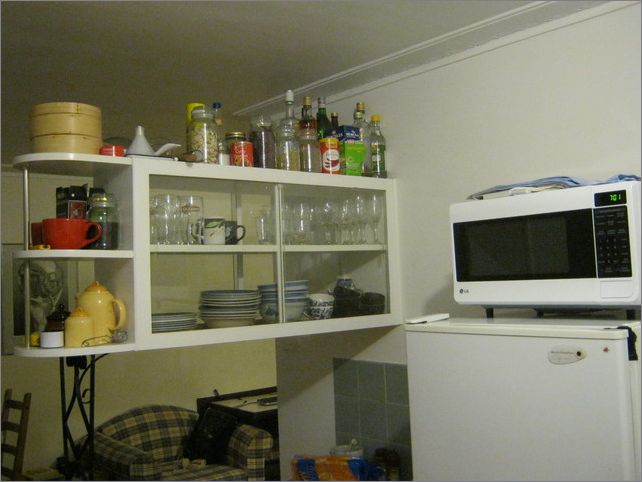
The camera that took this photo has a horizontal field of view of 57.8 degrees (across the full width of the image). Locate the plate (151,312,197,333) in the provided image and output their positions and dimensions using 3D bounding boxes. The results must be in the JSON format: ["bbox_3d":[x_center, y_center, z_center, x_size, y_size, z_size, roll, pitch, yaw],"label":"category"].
[{"bbox_3d":[-0.603,0.334,2.395,0.194,0.081,0.008,-1,-2,-38],"label":"plate"}]

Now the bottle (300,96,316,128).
[{"bbox_3d":[-0.067,-0.635,2.903,0.075,0.184,0.200,-1,-1,0],"label":"bottle"}]

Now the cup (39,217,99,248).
[{"bbox_3d":[-0.968,-0.028,2.238,0.184,0.105,0.120,1,-3,-25],"label":"cup"}]

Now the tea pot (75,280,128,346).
[{"bbox_3d":[-0.913,0.295,2.371,0.230,0.244,0.150,1,-3,16],"label":"tea pot"}]

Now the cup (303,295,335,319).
[{"bbox_3d":[-0.008,0.313,2.749,0.133,0.092,0.114,-1,0,-1],"label":"cup"}]

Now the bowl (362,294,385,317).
[{"bbox_3d":[0.259,0.316,2.895,0.100,0.081,0.115,1,4,12],"label":"bowl"}]

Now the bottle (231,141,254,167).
[{"bbox_3d":[-0.356,-0.399,2.697,0.114,0.121,0.114,1,2,27],"label":"bottle"}]

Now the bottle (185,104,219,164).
[{"bbox_3d":[-0.520,-0.472,2.544,0.139,0.273,0.155,-1,-1,-11],"label":"bottle"}]

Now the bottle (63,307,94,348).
[{"bbox_3d":[-0.948,0.333,2.258,0.130,0.186,0.132,1,-3,0],"label":"bottle"}]

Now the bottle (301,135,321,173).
[{"bbox_3d":[-0.063,-0.422,2.852,0.126,0.196,0.127,-1,6,0],"label":"bottle"}]

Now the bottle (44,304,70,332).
[{"bbox_3d":[-1.067,0.319,2.338,0.091,0.099,0.111,6,-7,-26],"label":"bottle"}]

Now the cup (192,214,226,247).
[{"bbox_3d":[-0.483,-0.041,2.511,0.103,0.096,0.136,-4,-6,36],"label":"cup"}]

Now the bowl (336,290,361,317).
[{"bbox_3d":[0.127,0.303,2.823,0.141,0.128,0.075,1,1,-27],"label":"bowl"}]

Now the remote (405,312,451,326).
[{"bbox_3d":[0.419,0.305,2.245,0.092,0.025,0.186,-2,-1,42],"label":"remote"}]

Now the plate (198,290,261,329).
[{"bbox_3d":[-0.399,0.290,2.519,0.187,0.096,0.181,1,-3,-22],"label":"plate"}]

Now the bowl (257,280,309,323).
[{"bbox_3d":[-0.188,0.285,2.749,0.260,0.178,0.238,-4,-7,-1],"label":"bowl"}]

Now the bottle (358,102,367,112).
[{"bbox_3d":[0.211,-0.678,2.946,0.054,0.056,0.054,2,7,23],"label":"bottle"}]

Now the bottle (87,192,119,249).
[{"bbox_3d":[-0.892,-0.080,2.372,0.190,0.219,0.185,2,2,-28],"label":"bottle"}]
